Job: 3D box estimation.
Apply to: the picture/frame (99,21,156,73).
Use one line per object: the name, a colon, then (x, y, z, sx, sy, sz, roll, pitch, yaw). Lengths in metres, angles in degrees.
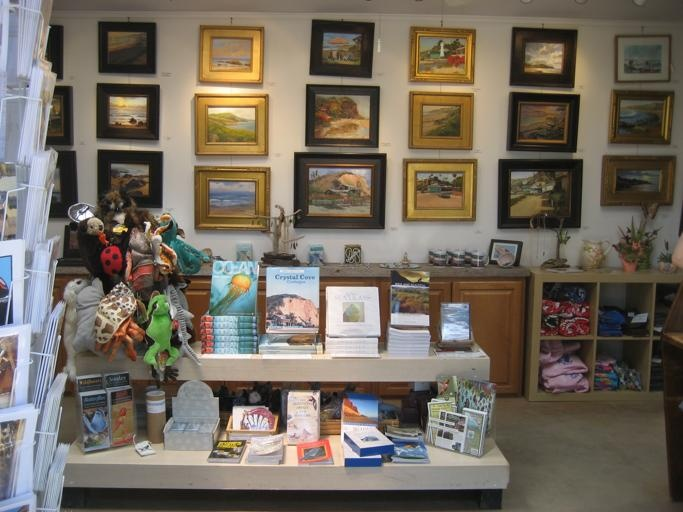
picture/frame: (-1.956, -1.913, 5.515, 0.460, 0.401, 0.039, 0, 7, -3)

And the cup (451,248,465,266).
cup: (1.044, 0.014, 5.547, 0.127, 0.138, 0.128, 0, 7, 0)

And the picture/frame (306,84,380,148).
picture/frame: (-0.010, -1.318, 5.608, 0.560, 0.454, 0.043, 1, 3, -3)

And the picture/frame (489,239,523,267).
picture/frame: (1.515, -0.031, 5.645, 0.223, 0.222, 0.081, 6, -32, 24)

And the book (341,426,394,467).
book: (0.156, 1.160, 3.758, 0.302, 0.134, 0.258, 1, 14, -3)

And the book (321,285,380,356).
book: (0.068, 0.410, 3.845, 0.324, 0.382, 0.206, 0, 14, -5)

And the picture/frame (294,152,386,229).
picture/frame: (-0.041, -0.643, 5.674, 0.701, 0.565, 0.053, 0, 1, -2)

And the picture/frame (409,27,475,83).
picture/frame: (0.908, -1.877, 5.606, 0.500, 0.387, 0.034, 0, 4, -4)

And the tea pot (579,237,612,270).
tea pot: (2.333, -0.010, 5.640, 0.295, 0.298, 0.229, 2, 0, 2)

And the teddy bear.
teddy bear: (-1.383, 0.185, 4.082, 0.969, 1.094, 0.536, 8, -13, -5)

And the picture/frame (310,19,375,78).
picture/frame: (-0.007, -1.910, 5.530, 0.496, 0.418, 0.040, 1, 6, -3)

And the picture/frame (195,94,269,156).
picture/frame: (-1.027, -1.233, 5.593, 0.552, 0.450, 0.043, 0, 1, -5)

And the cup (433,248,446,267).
cup: (0.869, 0.011, 5.591, 0.143, 0.143, 0.089, 0, 1, -5)

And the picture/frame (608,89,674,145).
picture/frame: (2.810, -1.335, 5.737, 0.499, 0.431, 0.050, -1, 8, 0)

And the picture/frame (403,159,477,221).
picture/frame: (0.898, -0.645, 5.723, 0.578, 0.486, 0.046, 0, 1, -2)

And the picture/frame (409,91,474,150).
picture/frame: (0.911, -1.283, 5.661, 0.528, 0.438, 0.041, 0, 7, -1)

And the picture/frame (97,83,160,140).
picture/frame: (-1.963, -1.343, 5.562, 0.505, 0.467, 0.035, 0, 2, -3)

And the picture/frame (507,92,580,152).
picture/frame: (1.865, -1.275, 5.687, 0.542, 0.459, 0.062, 0, 5, -2)

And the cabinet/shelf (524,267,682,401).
cabinet/shelf: (2.228, 0.683, 5.266, 1.171, 0.969, 0.341, 1, 0, -7)

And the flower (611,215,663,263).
flower: (2.743, -0.152, 5.723, 0.484, 0.491, 0.361, 0, 1, 19)

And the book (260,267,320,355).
book: (-0.327, 0.333, 3.857, 0.372, 0.519, 0.235, 1, 14, -2)

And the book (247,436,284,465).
book: (-0.468, 1.167, 3.744, 0.237, 0.107, 0.222, 0, 14, -6)

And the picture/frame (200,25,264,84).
picture/frame: (-1.010, -1.861, 5.534, 0.505, 0.435, 0.038, 0, 2, -2)

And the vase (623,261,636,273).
vase: (2.611, 0.095, 5.527, 0.093, 0.076, 0.099, 1, -3, -2)

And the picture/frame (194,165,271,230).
picture/frame: (-1.037, -0.570, 5.655, 0.586, 0.504, 0.044, 1, 3, -6)

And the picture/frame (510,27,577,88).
picture/frame: (1.854, -1.864, 5.630, 0.522, 0.453, 0.052, 1, 4, -1)

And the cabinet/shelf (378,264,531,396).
cabinet/shelf: (0.838, 0.527, 4.554, 1.115, 1.041, 0.424, 1, 1, -4)

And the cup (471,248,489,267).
cup: (1.251, 0.027, 5.570, 0.174, 0.158, 0.116, 0, 4, 10)

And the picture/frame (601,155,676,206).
picture/frame: (2.808, -0.736, 5.782, 0.477, 0.342, 0.037, 1, 1, -2)

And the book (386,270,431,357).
book: (0.431, 0.355, 3.875, 0.256, 0.501, 0.247, 2, 14, 5)

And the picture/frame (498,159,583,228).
picture/frame: (1.848, -0.621, 5.754, 0.644, 0.543, 0.047, 0, 5, -1)

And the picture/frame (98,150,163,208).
picture/frame: (-1.871, -0.713, 5.349, 0.693, 0.664, 0.048, 0, 11, -2)
